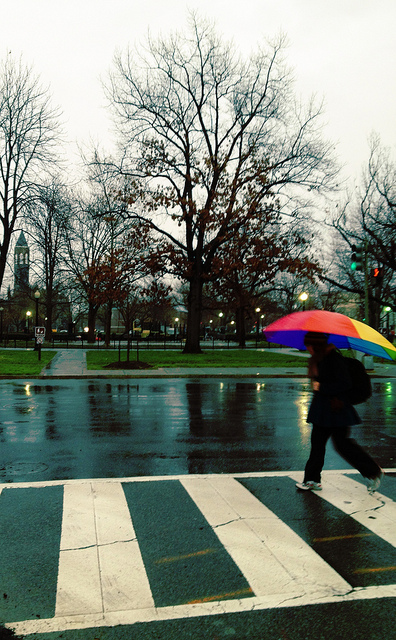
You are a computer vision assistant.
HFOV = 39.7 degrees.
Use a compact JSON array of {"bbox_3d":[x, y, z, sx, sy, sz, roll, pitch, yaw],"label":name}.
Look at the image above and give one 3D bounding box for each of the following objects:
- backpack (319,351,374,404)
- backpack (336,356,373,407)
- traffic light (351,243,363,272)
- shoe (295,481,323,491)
[{"bbox_3d":[1.405,0.523,5.385,0.535,0.371,0.559,20,2,-39],"label":"backpack"},{"bbox_3d":[1.516,0.589,5.452,0.279,0.509,0.371,-5,7,7],"label":"backpack"},{"bbox_3d":[5.332,-2.137,18.348,0.299,0.978,1.675,0,-1,19],"label":"traffic light"},{"bbox_3d":[1.184,1.734,5.789,0.250,0.107,0.097,2,-2,15],"label":"shoe"}]
